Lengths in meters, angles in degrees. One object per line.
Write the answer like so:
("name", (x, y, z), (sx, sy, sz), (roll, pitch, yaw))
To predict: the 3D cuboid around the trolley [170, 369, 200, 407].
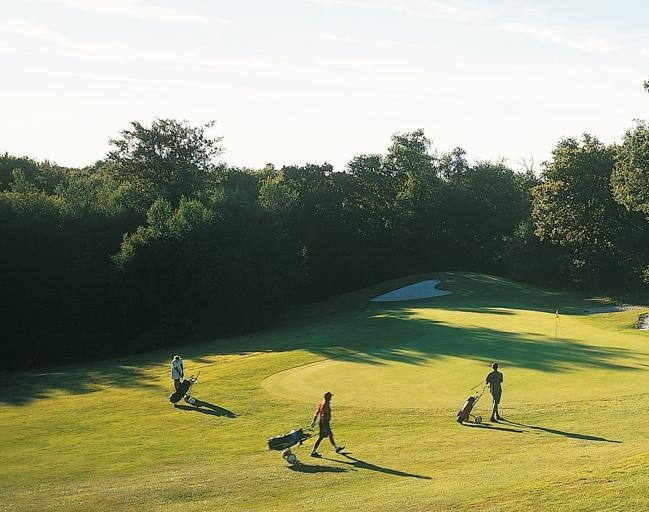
("trolley", (-6.391, 6.142, 32.877), (1.247, 1.057, 1.421), (-4, 8, -13))
